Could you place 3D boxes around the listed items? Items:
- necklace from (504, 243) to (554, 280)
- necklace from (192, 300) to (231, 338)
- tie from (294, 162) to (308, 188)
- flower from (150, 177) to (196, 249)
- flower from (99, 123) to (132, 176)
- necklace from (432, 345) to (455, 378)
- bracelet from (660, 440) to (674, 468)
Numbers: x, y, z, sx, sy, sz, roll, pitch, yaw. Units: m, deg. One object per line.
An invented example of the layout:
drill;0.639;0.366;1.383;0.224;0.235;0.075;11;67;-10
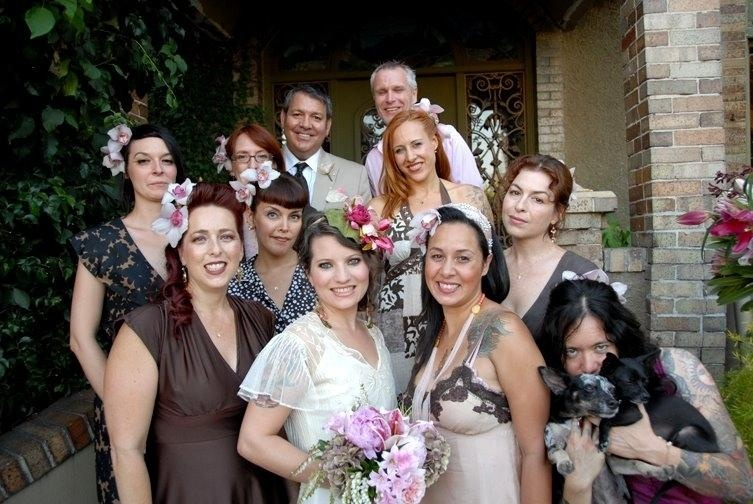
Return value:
necklace;1.072;0.110;4.558;0.208;0.304;0.101;-1;-7;14
necklace;-0.940;0.393;3.681;0.195;0.200;0.059;-11;-5;-39
tie;-0.661;-0.690;5.459;0.165;0.277;0.086;5;-40;-1
flower;-1.131;-0.212;3.711;0.313;0.349;0.156;-26;-14;14
flower;-1.748;-0.699;4.377;0.266;0.313;0.188;-12;2;8
necklace;0.401;0.647;3.649;0.044;0.191;0.115;26;-3;-38
bracelet;1.571;1.095;3.401;0.067;0.116;0.055;-3;4;4
